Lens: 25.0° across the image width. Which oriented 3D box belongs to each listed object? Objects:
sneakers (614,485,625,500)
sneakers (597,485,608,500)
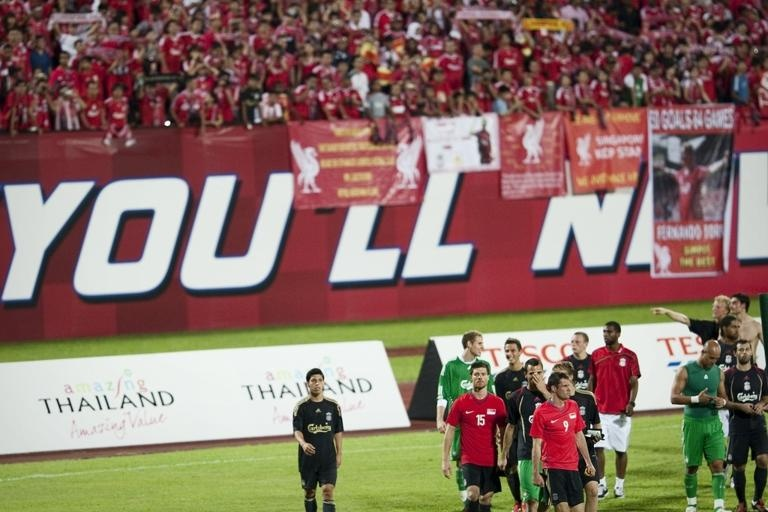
[{"bbox_3d":[4.065,4.100,30.252,0.158,0.197,0.433,0,-10,2],"label":"sneakers"},{"bbox_3d":[3.800,4.078,30.219,0.103,0.235,0.335,0,6,32],"label":"sneakers"}]
